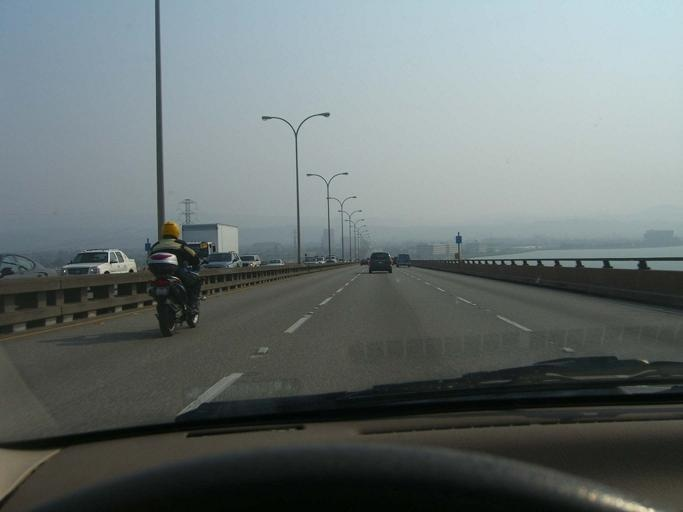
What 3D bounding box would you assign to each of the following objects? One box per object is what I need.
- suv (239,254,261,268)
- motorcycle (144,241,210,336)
[{"bbox_3d":[-7.547,0.397,54.360,1.196,0.962,1.930,-1,-5,3],"label":"suv"},{"bbox_3d":[-2.879,0.525,11.682,0.681,1.684,1.298,0,5,14],"label":"motorcycle"}]
